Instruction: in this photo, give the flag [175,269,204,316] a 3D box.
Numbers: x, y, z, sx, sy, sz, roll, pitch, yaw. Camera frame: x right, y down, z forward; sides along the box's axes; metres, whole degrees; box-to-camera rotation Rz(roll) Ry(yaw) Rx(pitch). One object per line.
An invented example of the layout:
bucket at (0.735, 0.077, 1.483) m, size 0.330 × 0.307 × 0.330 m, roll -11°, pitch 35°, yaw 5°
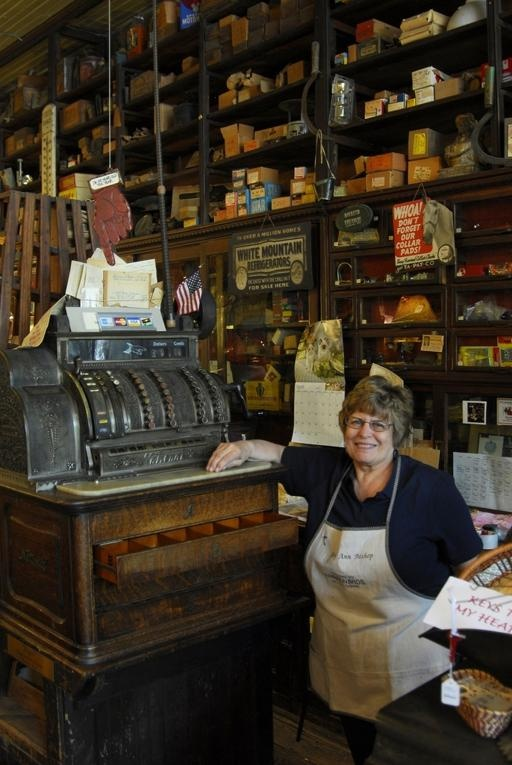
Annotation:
flag at (-0.213, -0.285, 1.921) m, size 0.086 × 0.158 × 0.173 m, roll -3°, pitch 2°, yaw -7°
